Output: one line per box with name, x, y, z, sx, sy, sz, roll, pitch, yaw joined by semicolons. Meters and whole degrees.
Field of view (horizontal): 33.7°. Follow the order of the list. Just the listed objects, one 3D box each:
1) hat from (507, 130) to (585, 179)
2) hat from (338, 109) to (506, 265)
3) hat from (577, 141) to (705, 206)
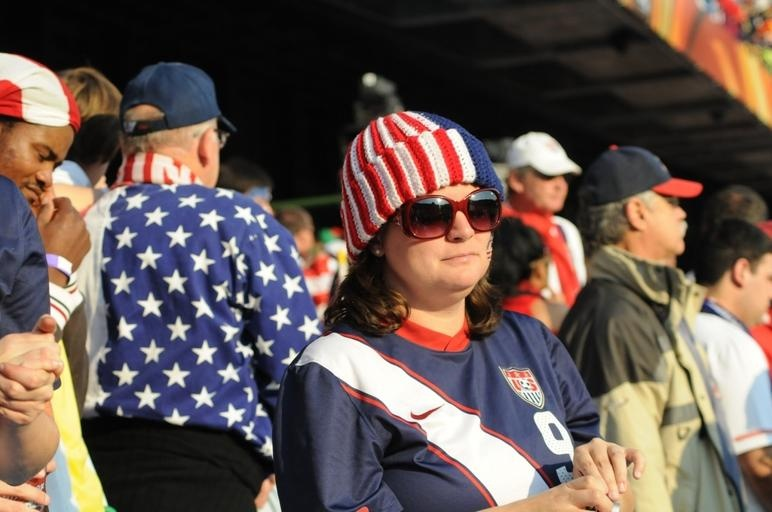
hat;1.362;-0.870;11.039;0.540;0.258;0.384;13;18;25
hat;0.204;-0.425;7.508;0.983;0.796;0.943;-13;9;-3
hat;1.720;-0.570;8.628;0.842;0.375;0.521;-6;2;-9
